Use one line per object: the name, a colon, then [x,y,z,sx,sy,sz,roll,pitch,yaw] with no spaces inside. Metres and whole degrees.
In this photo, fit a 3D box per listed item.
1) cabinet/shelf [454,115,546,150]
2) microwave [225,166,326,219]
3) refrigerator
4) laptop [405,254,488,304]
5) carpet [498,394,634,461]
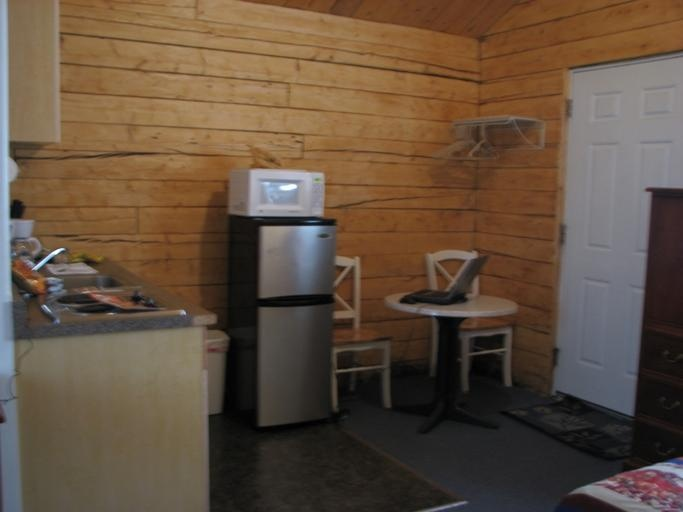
cabinet/shelf: [1.184,-0.919,4.174,0.504,0.122,0.426,-1,3,-10]
microwave: [-0.548,-0.398,3.657,0.504,0.288,0.663,6,8,34]
refrigerator: [-0.392,0.396,3.674,0.640,1.317,0.558,-2,13,-20]
laptop: [0.634,0.194,3.685,0.574,0.182,0.453,-5,0,-1]
carpet: [1.595,1.102,3.676,0.647,0.038,0.859,-4,10,-30]
